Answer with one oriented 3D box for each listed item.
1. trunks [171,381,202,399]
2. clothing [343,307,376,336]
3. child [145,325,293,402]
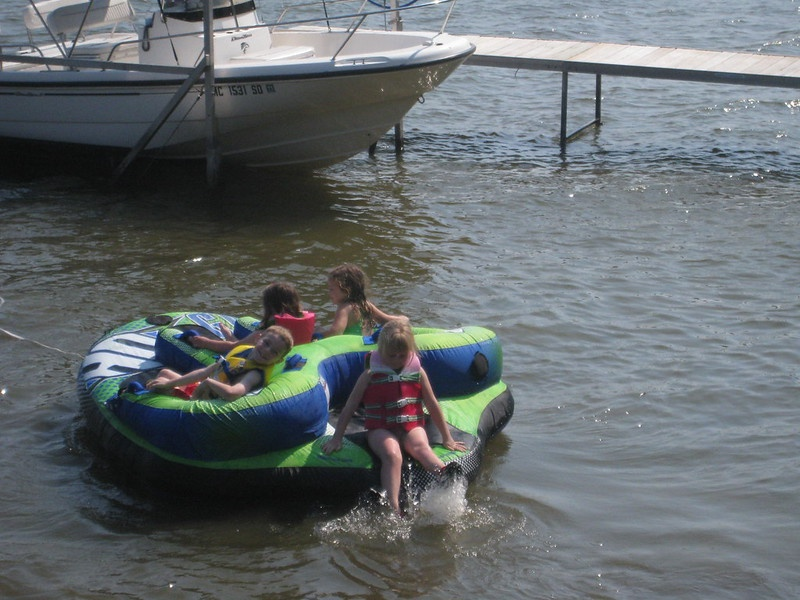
[{"bbox_3d":[-1.783,0.756,8.723,0.213,0.059,0.194,-10,2,33],"label":"trunks"},{"bbox_3d":[-0.376,0.185,9.305,0.263,0.229,0.154,18,25,12],"label":"clothing"},{"bbox_3d":[-1.314,0.530,8.544,1.253,0.508,0.610,8,12,2],"label":"child"}]
